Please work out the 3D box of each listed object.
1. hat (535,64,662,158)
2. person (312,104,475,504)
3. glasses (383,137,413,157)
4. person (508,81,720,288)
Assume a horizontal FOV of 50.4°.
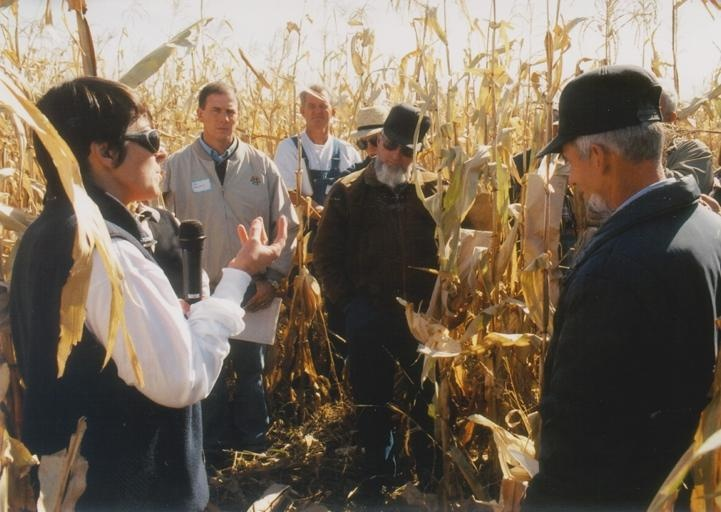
[{"bbox_3d":[0.953,-0.581,3.087,0.550,0.271,0.394,-9,0,34],"label":"hat"},{"bbox_3d":[0.085,0.192,4.682,0.716,2.112,0.415,6,2,44],"label":"person"},{"bbox_3d":[0.224,-0.640,4.616,0.176,0.086,0.079,5,1,-3],"label":"glasses"},{"bbox_3d":[1.471,-0.397,4.680,1.254,0.431,0.916,-14,-3,23],"label":"person"}]
